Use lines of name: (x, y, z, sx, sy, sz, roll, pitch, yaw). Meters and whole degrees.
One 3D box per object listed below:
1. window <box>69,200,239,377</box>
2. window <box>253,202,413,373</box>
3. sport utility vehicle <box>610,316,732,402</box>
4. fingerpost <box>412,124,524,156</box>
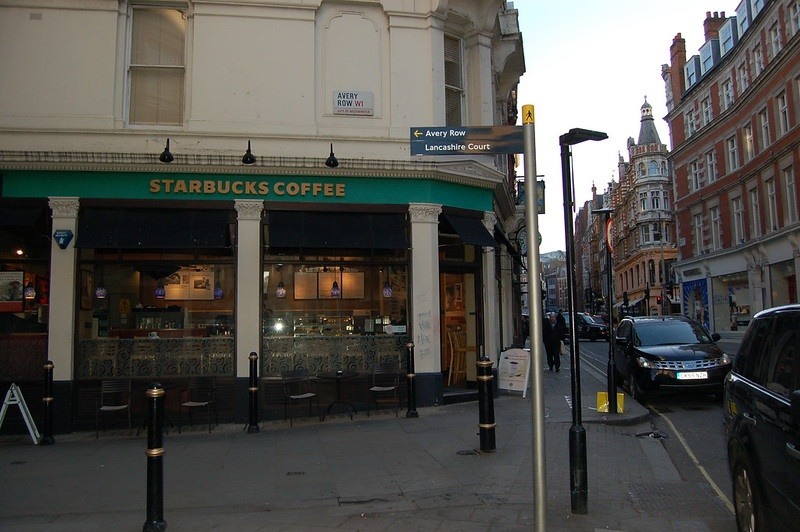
window: (-6.387, 0.593, 19.728, 3.910, 3.999, 1.013, 0, 4, 3)
window: (-1.904, 0.589, 20.277, 3.910, 4.880, 0.739, 1, -11, -12)
sport utility vehicle: (7.340, 2.628, 21.226, 2.283, 2.163, 3.249, -2, 5, -11)
fingerpost: (1.160, -2.168, 13.156, 1.926, 0.498, 0.285, 0, 4, 13)
